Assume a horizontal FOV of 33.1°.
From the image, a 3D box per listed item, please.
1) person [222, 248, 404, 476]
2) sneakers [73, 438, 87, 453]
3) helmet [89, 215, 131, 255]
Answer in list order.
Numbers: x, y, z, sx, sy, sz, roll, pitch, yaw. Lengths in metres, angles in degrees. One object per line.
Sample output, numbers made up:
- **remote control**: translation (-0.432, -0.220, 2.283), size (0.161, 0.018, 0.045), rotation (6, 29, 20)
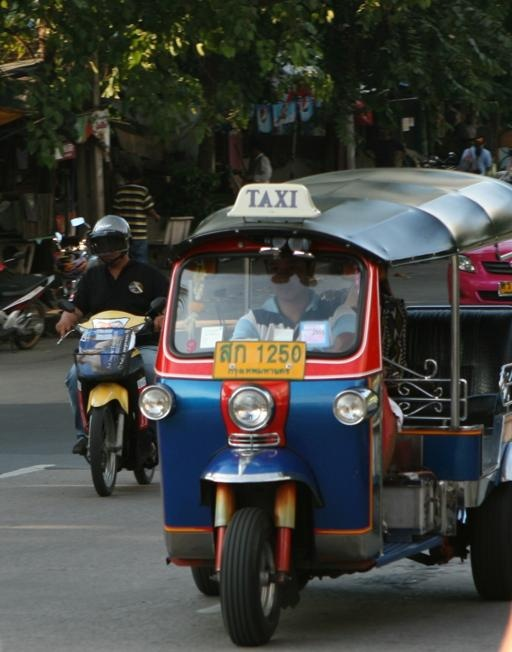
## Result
- **person**: translation (0.267, 0.140, 3.522), size (0.660, 0.788, 0.899), rotation (-2, -26, 10)
- **sneakers**: translation (-1.298, 0.856, 6.328), size (0.098, 0.126, 0.133), rotation (6, -32, -2)
- **helmet**: translation (-1.107, -0.702, 6.594), size (0.345, 0.287, 0.374), rotation (-4, 17, 3)
